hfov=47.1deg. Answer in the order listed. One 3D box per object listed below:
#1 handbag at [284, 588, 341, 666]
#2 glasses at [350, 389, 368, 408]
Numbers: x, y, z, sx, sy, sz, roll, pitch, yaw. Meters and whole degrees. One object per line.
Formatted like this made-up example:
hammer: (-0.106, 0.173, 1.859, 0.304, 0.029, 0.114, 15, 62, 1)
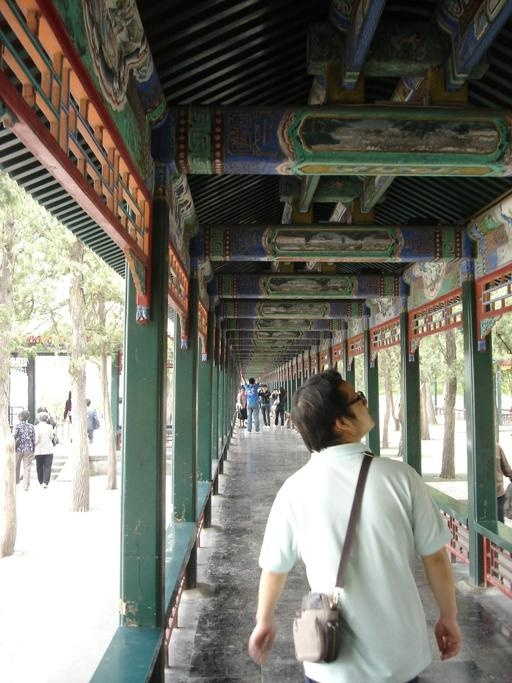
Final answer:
handbag: (0.139, 0.664, 1.378, 0.107, 0.150, 0.056, -4, -7, 28)
glasses: (0.277, 0.154, 1.591, 0.020, 0.056, 0.040, 6, -40, 29)
